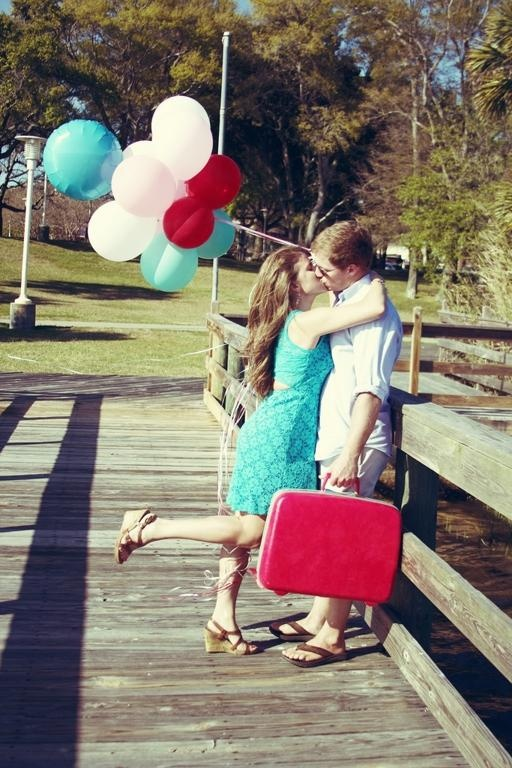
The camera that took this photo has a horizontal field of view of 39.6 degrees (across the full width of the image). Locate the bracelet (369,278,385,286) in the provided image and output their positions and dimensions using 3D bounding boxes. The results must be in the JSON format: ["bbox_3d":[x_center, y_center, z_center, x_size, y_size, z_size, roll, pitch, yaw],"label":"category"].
[{"bbox_3d":[0.351,-0.298,2.075,0.033,0.030,0.028,2,48,1],"label":"bracelet"}]

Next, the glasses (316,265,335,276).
[{"bbox_3d":[0.206,-0.332,2.079,0.037,0.011,0.037,31,9,38],"label":"glasses"}]

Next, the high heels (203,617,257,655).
[{"bbox_3d":[-0.089,0.815,2.286,0.179,0.101,0.084,1,2,-6],"label":"high heels"}]

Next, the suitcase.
[{"bbox_3d":[0.204,0.442,1.983,0.404,0.325,0.128,9,-11,-13],"label":"suitcase"}]
